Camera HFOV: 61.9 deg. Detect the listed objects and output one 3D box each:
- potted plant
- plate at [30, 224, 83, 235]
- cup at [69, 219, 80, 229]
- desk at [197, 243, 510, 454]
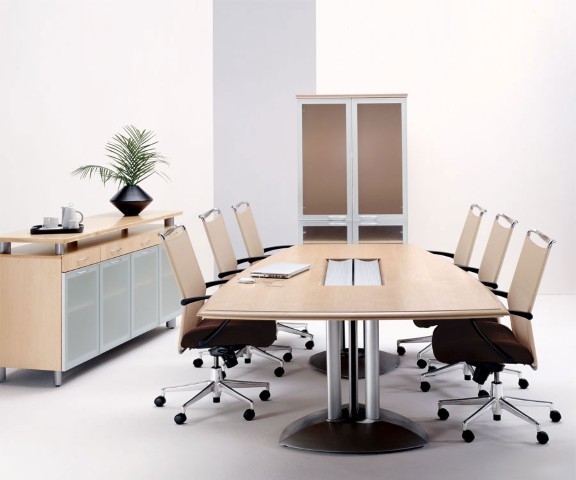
[{"bbox_3d":[-2.218,-0.928,6.187,1.429,1.185,1.336,2,6,15],"label":"potted plant"},{"bbox_3d":[-1.925,-0.087,4.008,0.400,0.065,0.355,-3,6,-24],"label":"plate"},{"bbox_3d":[-1.785,-0.128,4.020,0.085,0.074,0.058,1,-4,-23],"label":"cup"},{"bbox_3d":[0.462,0.698,3.305,1.614,1.019,1.830,0,6,11],"label":"desk"}]
